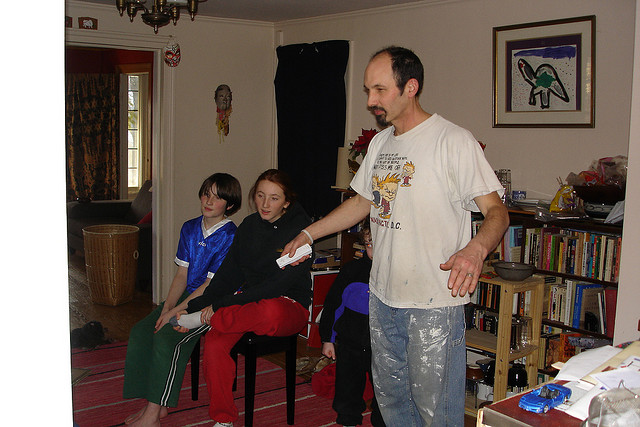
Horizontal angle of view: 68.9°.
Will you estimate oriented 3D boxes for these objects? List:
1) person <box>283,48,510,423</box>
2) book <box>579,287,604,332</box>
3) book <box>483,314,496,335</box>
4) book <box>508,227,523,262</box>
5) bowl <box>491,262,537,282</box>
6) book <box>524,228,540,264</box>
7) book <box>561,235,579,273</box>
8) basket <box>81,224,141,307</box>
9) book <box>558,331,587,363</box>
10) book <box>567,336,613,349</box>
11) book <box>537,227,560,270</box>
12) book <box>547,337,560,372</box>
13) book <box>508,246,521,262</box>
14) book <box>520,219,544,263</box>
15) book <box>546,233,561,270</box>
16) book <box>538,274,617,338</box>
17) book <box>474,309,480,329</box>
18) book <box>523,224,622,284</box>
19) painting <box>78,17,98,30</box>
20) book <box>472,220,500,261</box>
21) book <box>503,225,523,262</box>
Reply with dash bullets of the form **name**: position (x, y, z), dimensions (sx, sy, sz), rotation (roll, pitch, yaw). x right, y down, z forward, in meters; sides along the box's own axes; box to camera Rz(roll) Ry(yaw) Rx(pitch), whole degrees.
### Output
- **person**: position (0.408, 0.105, 1.913), dimensions (0.453, 1.475, 0.927), rotation (-12, 1, -27)
- **book**: position (1.715, 0.607, 2.972), dimensions (0.219, 0.230, 0.051), rotation (0, -6, -1)
- **book**: position (1.166, 0.769, 3.227), dimensions (0.028, 0.109, 0.076), rotation (3, -1, -36)
- **book**: position (1.358, 0.213, 3.252), dimensions (0.031, 0.323, 0.243), rotation (4, 6, 40)
- **bowl**: position (1.229, 0.369, 3.000), dimensions (0.157, 0.058, 0.153), rotation (0, 1, 0)
- **book**: position (1.433, 0.214, 3.142), dimensions (0.115, 0.219, 0.223), rotation (2, 3, 17)
- **book**: position (1.608, 0.263, 2.994), dimensions (0.122, 0.227, 0.231), rotation (3, 2, 20)
- **basket**: position (-2.258, 0.592, 5.284), dimensions (0.588, 0.741, 0.588), rotation (0, -2, -6)
- **book**: position (1.701, 0.905, 3.093), dimensions (0.179, 0.173, 0.114), rotation (4, -12, 18)
- **book**: position (1.741, 0.828, 2.992), dimensions (0.082, 0.075, 0.258), rotation (-13, 0, -40)
- **book**: position (1.510, 0.246, 3.087), dimensions (0.040, 0.300, 0.263), rotation (5, 5, 31)
- **book**: position (1.543, 0.941, 3.118), dimensions (0.046, 0.205, 0.198), rotation (6, 9, 13)
- **book**: position (1.355, 0.283, 3.260), dimensions (0.100, 0.100, 0.052), rotation (-2, 3, -32)
- **book**: position (1.429, 0.187, 3.136), dimensions (0.269, 0.323, 0.044), rotation (-4, 9, -36)
- **book**: position (1.537, 0.252, 3.061), dimensions (0.037, 0.270, 0.234), rotation (3, 1, 33)
- **book**: position (1.727, 0.628, 3.097), dimensions (0.386, 0.374, 0.248), rotation (19, -15, -25)
- **book**: position (1.114, 0.755, 3.315), dimensions (0.054, 0.129, 0.024), rotation (-11, 1, 32)
- **book**: position (1.667, 0.262, 3.085), dimensions (0.606, 0.278, 0.212), rotation (6, -3, -10)
- **painting**: position (-2.303, -1.863, 4.587), dimensions (0.144, 0.105, 0.020), rotation (-2, 16, -19)
- **book**: position (1.157, 0.202, 3.286), dimensions (0.153, 0.273, 0.258), rotation (-11, 1, 38)
- **book**: position (1.308, 0.206, 3.160), dimensions (0.083, 0.257, 0.261), rotation (3, 4, 32)
